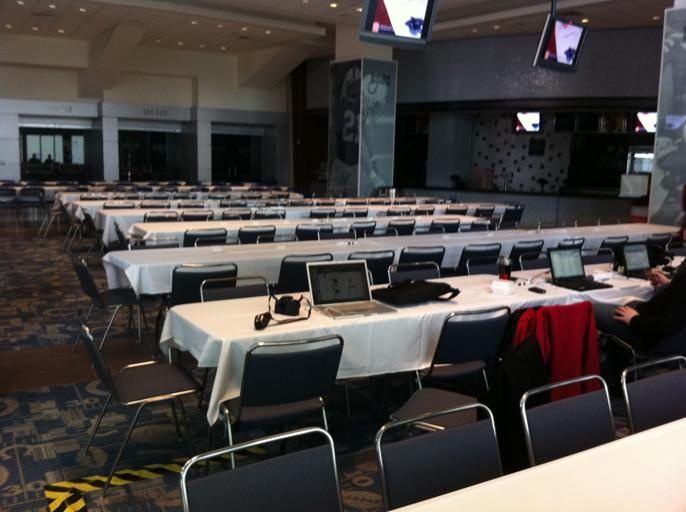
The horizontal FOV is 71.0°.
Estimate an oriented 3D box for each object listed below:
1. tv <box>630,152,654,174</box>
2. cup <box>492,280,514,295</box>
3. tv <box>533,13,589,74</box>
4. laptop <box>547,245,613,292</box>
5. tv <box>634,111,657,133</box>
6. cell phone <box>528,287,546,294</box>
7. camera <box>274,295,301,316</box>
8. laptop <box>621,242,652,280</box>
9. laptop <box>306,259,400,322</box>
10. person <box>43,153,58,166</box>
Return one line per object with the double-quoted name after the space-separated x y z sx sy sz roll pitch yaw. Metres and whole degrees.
11.049 -3.496 17.894 0.295 0.738 0.851 -7 10 -34 "tv"
1.365 0.242 4.108 0.167 0.103 0.350 3 10 28 "cup"
3.739 -3.633 8.298 1.175 0.780 0.108 -10 26 -35 "tv"
2.113 0.106 4.281 0.512 0.317 0.576 6 11 35 "laptop"
9.445 -4.201 15.053 0.503 0.635 0.459 3 10 29 "tv"
1.641 0.288 4.067 0.137 0.024 0.152 2 9 21 "cell phone"
-0.386 0.353 3.402 0.168 0.139 0.123 5 6 30 "camera"
2.993 0.035 4.886 0.028 0.328 0.327 -6 -3 -10 "laptop"
0.055 0.219 3.429 0.542 0.329 0.530 -1 5 -19 "laptop"
-12.085 -3.976 19.823 0.518 0.807 0.273 -2 4 -38 "person"
